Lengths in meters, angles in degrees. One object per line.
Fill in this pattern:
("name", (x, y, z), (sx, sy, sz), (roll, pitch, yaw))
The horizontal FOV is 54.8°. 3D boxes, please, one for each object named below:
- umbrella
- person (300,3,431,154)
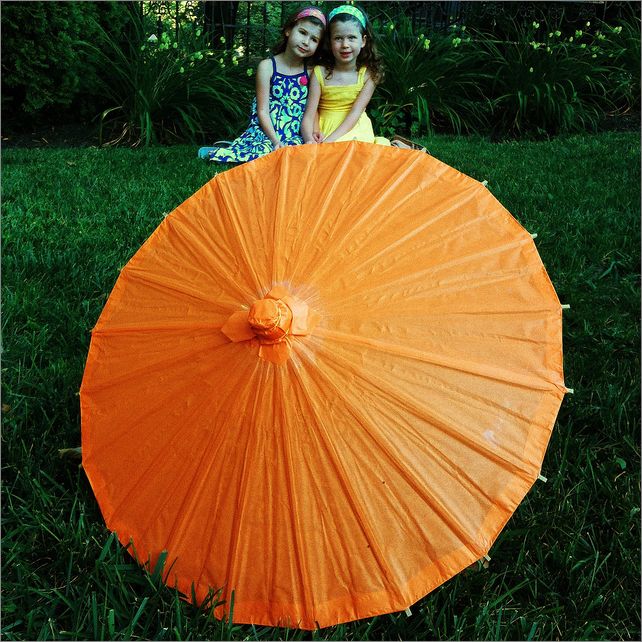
("umbrella", (-0.020, 0.113, 1.665), (1.294, 0.947, 0.848), (5, 22, 12))
("person", (0.112, -1.655, 4.191), (0.531, 0.844, 0.635), (3, 22, 10))
